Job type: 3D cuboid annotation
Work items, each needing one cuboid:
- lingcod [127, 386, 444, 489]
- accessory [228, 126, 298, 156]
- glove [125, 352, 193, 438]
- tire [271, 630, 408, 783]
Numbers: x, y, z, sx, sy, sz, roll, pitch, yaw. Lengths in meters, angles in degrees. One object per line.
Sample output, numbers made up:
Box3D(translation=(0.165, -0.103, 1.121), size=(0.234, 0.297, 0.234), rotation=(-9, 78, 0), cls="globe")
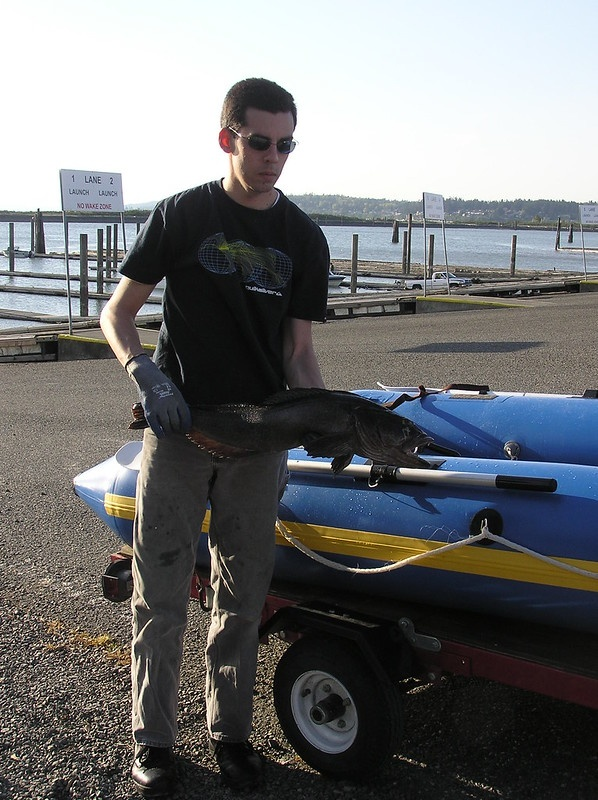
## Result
Box3D(translation=(0.027, 0.082, 1.940), size=(0.658, 0.235, 0.183), rotation=(2, 6, 8), cls="lingcod")
Box3D(translation=(-0.102, -0.722, 1.939), size=(0.190, 0.082, 0.088), rotation=(0, 6, -6), cls="accessory")
Box3D(translation=(-0.374, -0.017, 1.864), size=(0.139, 0.237, 0.071), rotation=(-21, -28, -17), cls="glove")
Box3D(translation=(0.123, 0.997, 2.294), size=(0.458, 0.454, 0.145), rotation=(12, 9, 36), cls="tire")
